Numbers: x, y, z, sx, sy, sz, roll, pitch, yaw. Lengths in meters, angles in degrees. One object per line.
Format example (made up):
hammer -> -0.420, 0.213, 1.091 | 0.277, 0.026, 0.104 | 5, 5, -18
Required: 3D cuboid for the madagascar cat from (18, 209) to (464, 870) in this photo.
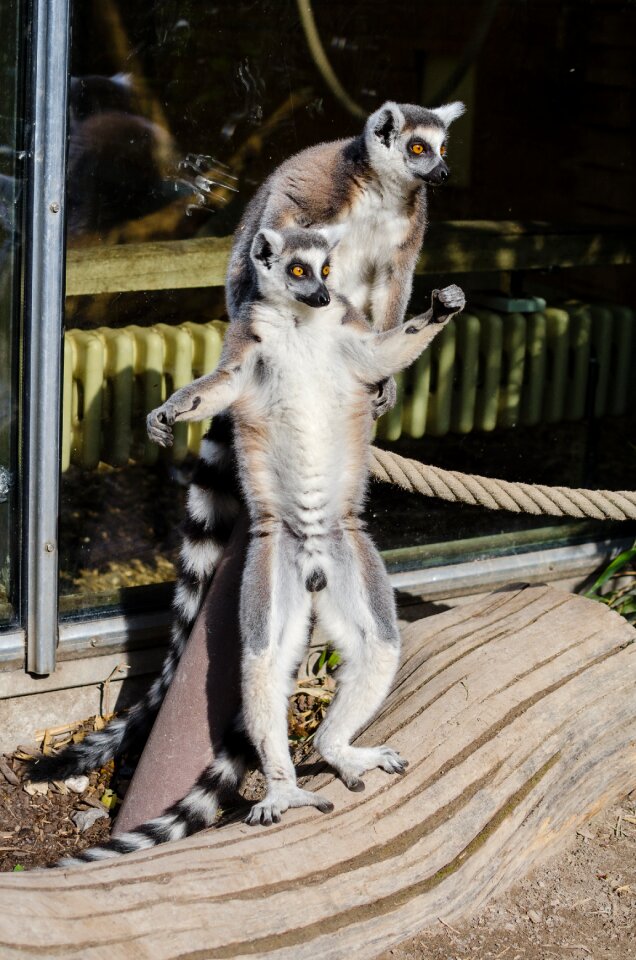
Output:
madagascar cat -> -0.022, 0.091, 2.329 | 0.563, 1.289, 0.471 | 12, 15, 27
